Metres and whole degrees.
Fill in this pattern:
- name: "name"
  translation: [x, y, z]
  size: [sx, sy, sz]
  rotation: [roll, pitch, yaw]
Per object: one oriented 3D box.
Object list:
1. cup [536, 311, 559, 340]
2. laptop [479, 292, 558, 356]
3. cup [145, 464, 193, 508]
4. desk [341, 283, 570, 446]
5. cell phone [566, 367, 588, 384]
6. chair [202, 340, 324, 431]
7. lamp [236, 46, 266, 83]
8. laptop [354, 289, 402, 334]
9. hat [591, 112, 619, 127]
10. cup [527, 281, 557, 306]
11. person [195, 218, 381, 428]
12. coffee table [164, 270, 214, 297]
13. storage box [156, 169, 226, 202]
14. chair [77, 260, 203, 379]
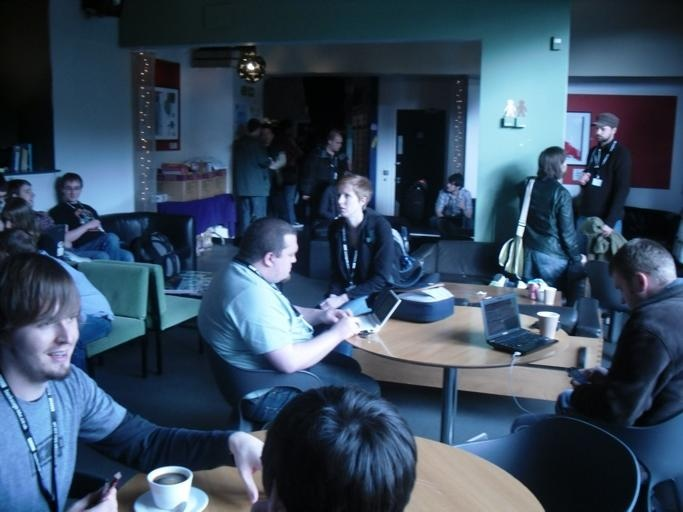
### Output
- name: "cup"
  translation: [1.089, 0.364, 2.805]
  size: [0.119, 0.124, 0.121]
  rotation: [0, 0, 0]
- name: "laptop"
  translation: [0.845, 0.339, 2.679]
  size: [0.344, 0.282, 0.241]
  rotation: [3, -8, -40]
- name: "cup"
  translation: [-0.454, 0.591, 1.425]
  size: [0.100, 0.068, 0.105]
  rotation: [0, 2, 0]
- name: "desk"
  translation: [0.519, 0.455, 2.829]
  size: [0.787, 0.549, 0.799]
  rotation: [5, 23, 13]
- name: "cell phone"
  translation: [1.111, 0.577, 2.542]
  size: [0.074, 0.050, 0.104]
  rotation: [3, 4, 0]
- name: "chair"
  translation: [-0.398, 0.572, 2.592]
  size: [0.534, 0.468, 0.431]
  rotation: [-4, 8, -18]
- name: "lamp"
  translation: [-1.326, -2.802, 7.826]
  size: [0.372, 0.470, 0.311]
  rotation: [0, 10, -14]
- name: "laptop"
  translation: [0.194, 0.291, 2.967]
  size: [0.209, 0.144, 0.225]
  rotation: [-4, 16, -8]
- name: "hat"
  translation: [2.637, -1.352, 5.342]
  size: [0.178, 0.155, 0.297]
  rotation: [8, 11, 32]
- name: "cup"
  translation: [1.441, 0.272, 3.868]
  size: [0.192, 0.150, 0.166]
  rotation: [3, 12, 5]
- name: "person"
  translation: [-0.239, 0.503, 2.727]
  size: [0.881, 1.316, 0.772]
  rotation: [2, 8, -8]
- name: "coffee table"
  translation: [-1.458, 0.269, 5.161]
  size: [0.423, 0.107, 0.451]
  rotation: [3, 16, 4]
- name: "storage box"
  translation: [-2.323, -1.102, 8.299]
  size: [0.437, 0.454, 1.562]
  rotation: [6, 10, 21]
- name: "chair"
  translation: [-1.561, 0.390, 4.251]
  size: [0.659, 0.817, 1.161]
  rotation: [5, 12, 18]
